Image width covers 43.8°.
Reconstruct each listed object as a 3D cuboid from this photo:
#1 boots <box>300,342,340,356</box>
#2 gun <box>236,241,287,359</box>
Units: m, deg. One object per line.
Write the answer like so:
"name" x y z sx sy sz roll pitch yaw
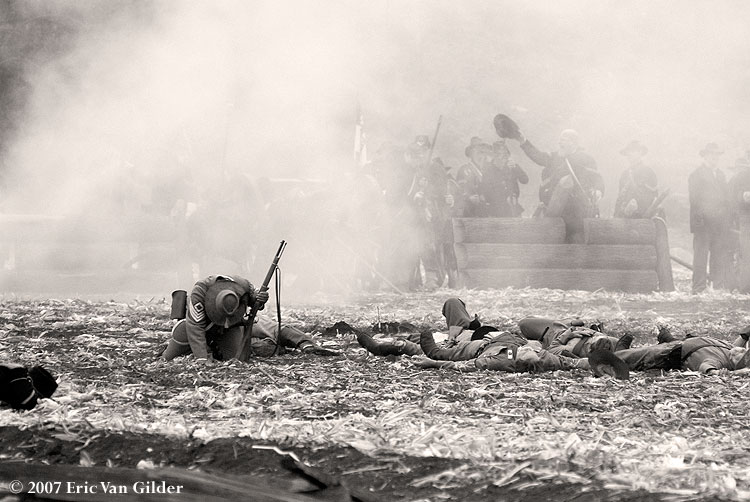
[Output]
"boots" -0.637 1.121 10.694 0.474 0.157 0.217 0 -4 -1
"gun" -1.296 0.562 10.306 0.602 1.198 0.592 4 -5 -1
